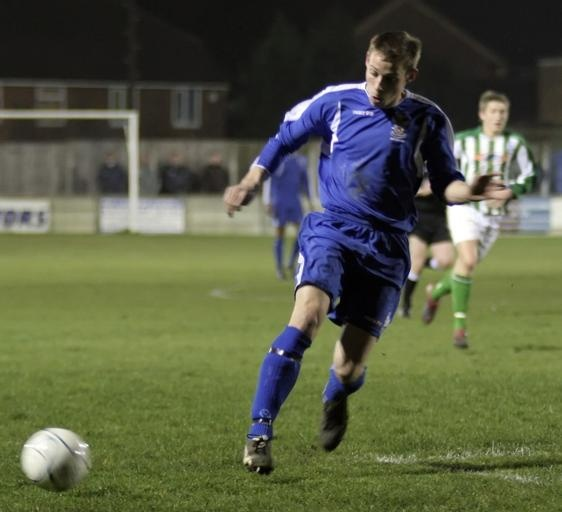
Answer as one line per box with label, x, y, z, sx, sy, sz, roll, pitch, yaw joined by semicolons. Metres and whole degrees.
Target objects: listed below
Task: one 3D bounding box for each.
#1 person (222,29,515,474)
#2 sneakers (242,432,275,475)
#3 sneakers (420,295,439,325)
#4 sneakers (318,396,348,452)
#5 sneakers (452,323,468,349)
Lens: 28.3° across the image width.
person;0.268;0.084;5.376;1.227;1.819;0.718;-5;10;-32
sneakers;-0.097;0.852;4.934;0.131;0.128;0.265;13;12;-11
sneakers;1.204;0.446;9.024;0.094;0.276;0.121;5;29;-7
sneakers;0.272;0.832;5.641;0.098;0.134;0.302;0;16;11
sneakers;1.274;0.577;7.993;0.122;0.168;0.371;-1;-8;5
